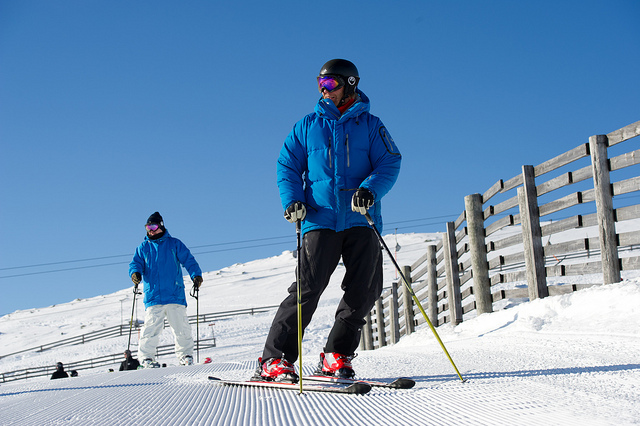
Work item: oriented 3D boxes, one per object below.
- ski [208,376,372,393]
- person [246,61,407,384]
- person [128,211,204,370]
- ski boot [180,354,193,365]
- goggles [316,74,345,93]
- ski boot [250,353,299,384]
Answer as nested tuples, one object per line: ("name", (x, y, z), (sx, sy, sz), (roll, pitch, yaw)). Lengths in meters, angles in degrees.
("ski", (-0.224, 1.440, 5.082), (1.313, 0.066, 0.161), (-1, 14, 21))
("person", (0.103, 0.034, 5.450), (1.318, 2.805, 0.569), (-5, -6, 2))
("person", (-2.296, 1.106, 9.041), (0.975, 2.293, 0.413), (-3, -6, -15))
("ski boot", (-1.988, 2.180, 9.037), (0.170, 0.129, 0.178), (-43, -19, -40))
("goggles", (0.101, -1.186, 5.517), (0.237, 0.178, 0.130), (-5, -6, 2))
("ski boot", (-0.373, 1.370, 5.361), (0.507, 0.247, 0.186), (-4, -13, 33))
